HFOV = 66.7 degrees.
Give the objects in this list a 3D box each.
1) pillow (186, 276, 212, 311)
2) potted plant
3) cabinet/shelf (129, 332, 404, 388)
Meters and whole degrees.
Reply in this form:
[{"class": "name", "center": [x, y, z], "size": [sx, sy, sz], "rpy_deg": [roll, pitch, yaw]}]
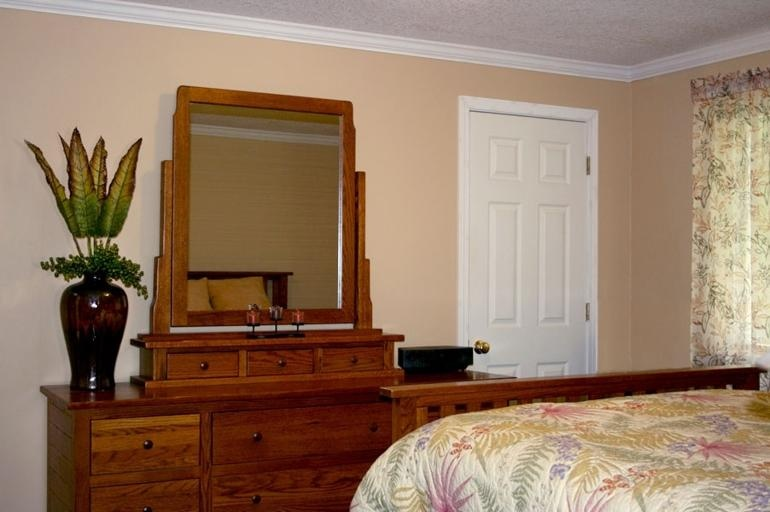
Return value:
[{"class": "pillow", "center": [-1.031, 0.217, 3.256], "size": [0.121, 0.183, 0.033], "rpy_deg": [-3, 3, -17]}, {"class": "potted plant", "center": [-1.515, -0.014, 3.045], "size": [0.556, 1.346, 0.473], "rpy_deg": [-3, 3, -26]}, {"class": "cabinet/shelf", "center": [-0.617, 0.554, 3.205], "size": [1.446, 0.322, 0.298], "rpy_deg": [-2, 3, -15]}]
